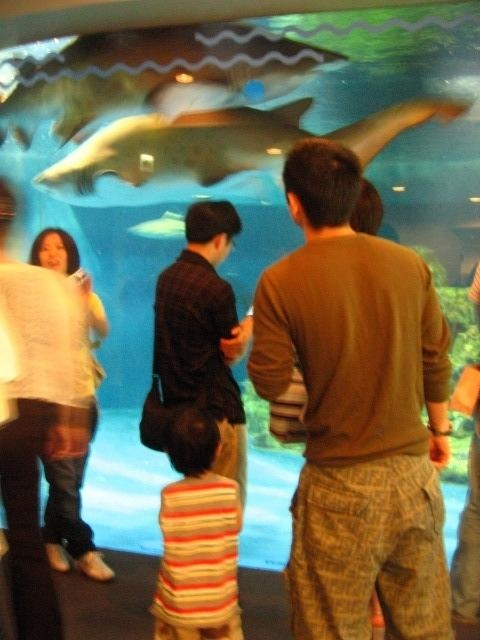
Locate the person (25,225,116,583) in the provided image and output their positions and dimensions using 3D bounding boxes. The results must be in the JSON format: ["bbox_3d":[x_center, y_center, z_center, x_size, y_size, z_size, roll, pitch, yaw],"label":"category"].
[{"bbox_3d":[-0.851,0.423,2.924,0.461,1.679,0.490,-4,0,-14],"label":"person"}]
